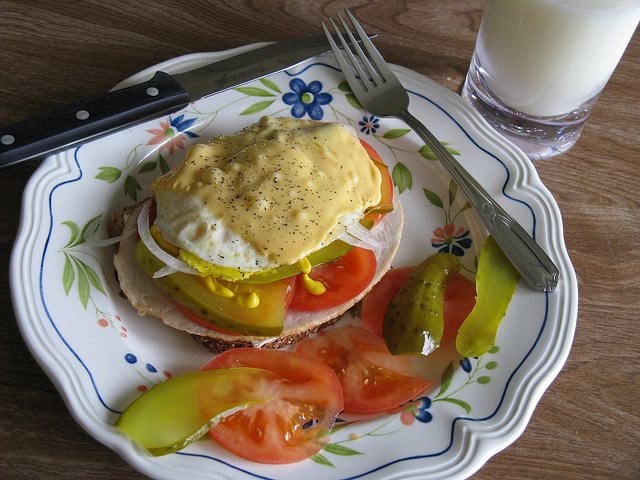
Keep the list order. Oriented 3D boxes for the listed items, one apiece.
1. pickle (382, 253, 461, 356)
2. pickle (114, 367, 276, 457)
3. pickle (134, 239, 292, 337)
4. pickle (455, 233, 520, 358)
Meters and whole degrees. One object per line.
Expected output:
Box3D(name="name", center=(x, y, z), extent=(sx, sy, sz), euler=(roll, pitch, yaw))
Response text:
Box3D(name="pickle", center=(0.539, 0.334, 3.341), extent=(0.300, 0.377, 0.627), euler=(20, 81, 5))
Box3D(name="pickle", center=(-0.594, 0.802, 3.067), extent=(0.724, 0.337, 0.319), euler=(-28, 80, -3))
Box3D(name="pickle", center=(-0.549, 0.358, 3.359), extent=(0.761, 0.580, 0.113), euler=(27, 94, 50))
Box3D(name="pickle", center=(0.897, 0.277, 3.308), extent=(0.242, 0.072, 0.687), euler=(7, 58, 12))
